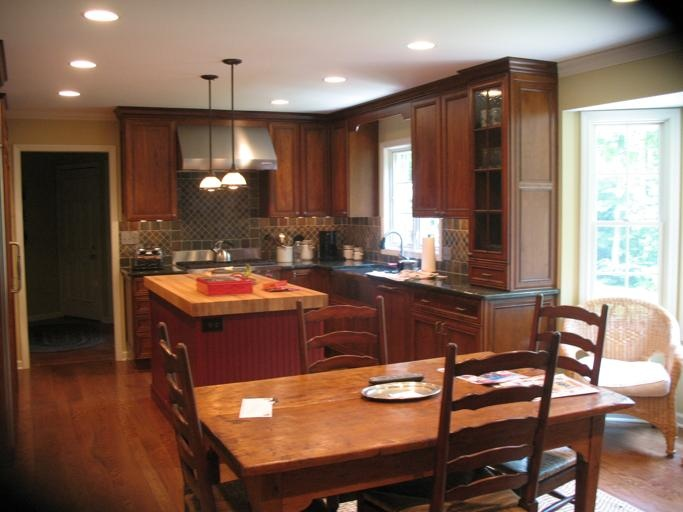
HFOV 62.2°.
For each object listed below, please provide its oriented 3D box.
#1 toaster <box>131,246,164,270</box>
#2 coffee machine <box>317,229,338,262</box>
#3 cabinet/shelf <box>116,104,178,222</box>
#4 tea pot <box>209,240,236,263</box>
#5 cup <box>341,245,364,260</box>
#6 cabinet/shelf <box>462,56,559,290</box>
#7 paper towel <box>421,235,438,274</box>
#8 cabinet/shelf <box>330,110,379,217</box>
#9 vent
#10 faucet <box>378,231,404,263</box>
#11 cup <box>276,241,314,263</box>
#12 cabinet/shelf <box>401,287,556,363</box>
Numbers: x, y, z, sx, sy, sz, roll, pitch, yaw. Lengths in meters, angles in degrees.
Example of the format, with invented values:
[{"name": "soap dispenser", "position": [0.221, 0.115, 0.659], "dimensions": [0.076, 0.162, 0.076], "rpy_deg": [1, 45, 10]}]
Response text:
[{"name": "toaster", "position": [-2.068, 0.035, 6.150], "dimensions": [0.279, 0.155, 0.341], "rpy_deg": [-1, 4, -11]}, {"name": "coffee machine", "position": [-0.149, -0.121, 6.880], "dimensions": [0.228, 0.340, 0.360], "rpy_deg": [-2, 7, -3]}, {"name": "cabinet/shelf", "position": [-2.025, -0.923, 6.054], "dimensions": [0.552, 1.093, 0.148], "rpy_deg": [-4, 8, -12]}, {"name": "tea pot", "position": [-1.337, -0.032, 6.442], "dimensions": [0.256, 0.246, 0.324], "rpy_deg": [-5, -8, 42]}, {"name": "cup", "position": [0.140, -0.016, 6.810], "dimensions": [0.254, 0.099, 0.140], "rpy_deg": [0, 3, -13]}, {"name": "cabinet/shelf", "position": [1.317, -0.593, 4.356], "dimensions": [0.699, 1.714, 0.456], "rpy_deg": [0, 8, 11]}, {"name": "paper towel", "position": [0.810, 0.003, 5.196], "dimensions": [0.114, 0.317, 0.199], "rpy_deg": [-1, 8, 4]}, {"name": "cabinet/shelf", "position": [0.153, -0.982, 6.529], "dimensions": [0.389, 1.099, 0.605], "rpy_deg": [-9, 11, -42]}, {"name": "vent", "position": [-1.254, -1.133, 6.067], "dimensions": [0.970, 0.385, 0.476], "rpy_deg": [0, -2, -21]}, {"name": "faucet", "position": [0.558, -0.088, 6.227], "dimensions": [0.254, 0.344, 0.382], "rpy_deg": [3, -3, -20]}, {"name": "cup", "position": [-0.540, -0.033, 6.792], "dimensions": [0.431, 0.147, 0.230], "rpy_deg": [-4, 6, -24]}, {"name": "cabinet/shelf", "position": [1.118, 0.341, 4.695], "dimensions": [0.742, 0.876, 1.013], "rpy_deg": [0, 2, -21]}]
